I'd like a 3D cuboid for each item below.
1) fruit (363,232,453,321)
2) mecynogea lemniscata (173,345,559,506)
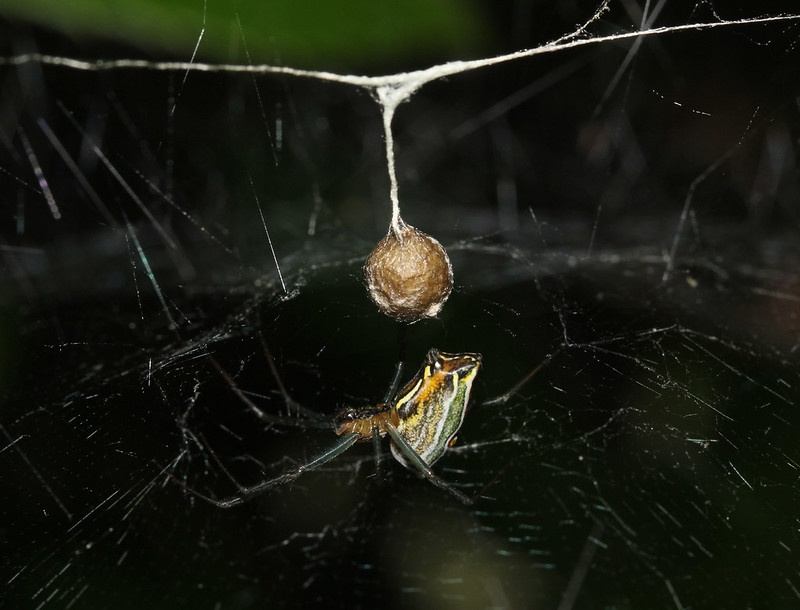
[{"bbox_3d":[0.018,-0.074,1.580,0.169,0.225,0.191,-4,22,-2],"label":"fruit"},{"bbox_3d":[-0.068,0.274,1.626,0.488,0.175,0.370,-13,70,5],"label":"mecynogea lemniscata"}]
